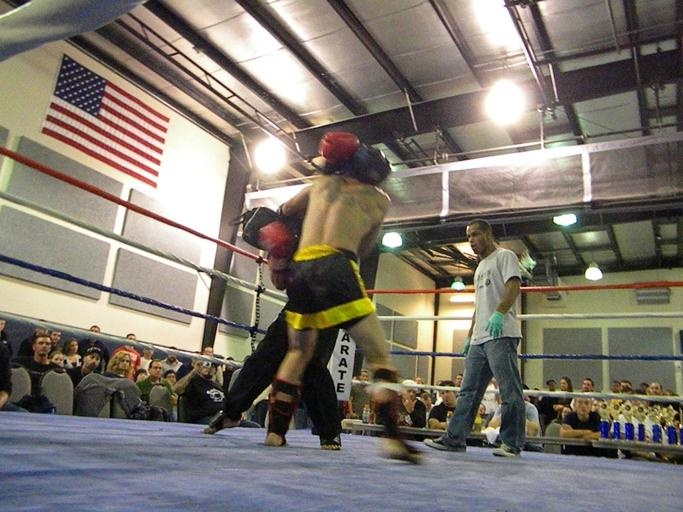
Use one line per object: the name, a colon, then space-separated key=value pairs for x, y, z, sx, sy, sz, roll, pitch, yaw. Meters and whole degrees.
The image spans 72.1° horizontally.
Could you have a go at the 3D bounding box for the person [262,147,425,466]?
person: x=-0.032 y=0.146 z=1.833 sx=0.395 sy=1.228 sz=0.714 roll=20 pitch=-21 yaw=-33

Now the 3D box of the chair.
chair: x=-1.784 y=1.022 z=3.390 sx=0.623 sy=0.353 sz=1.258 roll=-7 pitch=-18 yaw=39

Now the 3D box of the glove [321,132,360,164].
glove: x=-0.013 y=-0.436 z=1.903 sx=0.173 sy=0.102 sz=0.095 roll=2 pitch=10 yaw=-1

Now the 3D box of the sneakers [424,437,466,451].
sneakers: x=0.555 y=1.032 z=2.610 sx=0.238 sy=0.079 sz=0.079 roll=1 pitch=-18 yaw=22

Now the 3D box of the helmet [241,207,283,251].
helmet: x=-0.370 y=-0.147 z=2.107 sx=0.198 sy=0.167 sz=0.209 roll=32 pitch=6 yaw=-9

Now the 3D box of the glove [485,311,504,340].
glove: x=0.820 y=0.364 z=2.488 sx=0.053 sy=0.109 sz=0.130 roll=21 pitch=-43 yaw=38

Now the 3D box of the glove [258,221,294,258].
glove: x=-0.267 y=-0.066 z=1.921 sx=0.175 sy=0.109 sz=0.071 roll=-11 pitch=-22 yaw=31

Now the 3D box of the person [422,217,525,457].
person: x=0.832 y=0.427 z=2.688 sx=0.367 sy=1.337 sz=0.459 roll=20 pitch=-22 yaw=-34

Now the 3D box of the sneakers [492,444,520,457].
sneakers: x=0.863 y=1.023 z=2.482 sx=0.163 sy=0.059 sz=0.056 roll=5 pitch=-25 yaw=9
